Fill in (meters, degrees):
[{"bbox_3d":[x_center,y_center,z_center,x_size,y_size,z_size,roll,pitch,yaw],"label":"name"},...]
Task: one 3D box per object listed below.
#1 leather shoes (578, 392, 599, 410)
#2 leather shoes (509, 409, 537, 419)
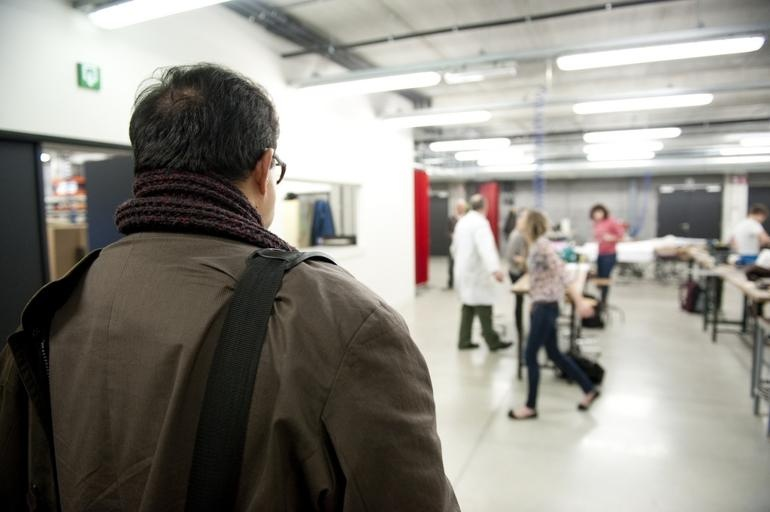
[{"bbox_3d":[1.340,0.955,3.834,0.071,0.164,0.044,38,24,32],"label":"leather shoes"},{"bbox_3d":[0.938,1.088,3.985,0.198,0.078,0.068,3,0,13],"label":"leather shoes"}]
